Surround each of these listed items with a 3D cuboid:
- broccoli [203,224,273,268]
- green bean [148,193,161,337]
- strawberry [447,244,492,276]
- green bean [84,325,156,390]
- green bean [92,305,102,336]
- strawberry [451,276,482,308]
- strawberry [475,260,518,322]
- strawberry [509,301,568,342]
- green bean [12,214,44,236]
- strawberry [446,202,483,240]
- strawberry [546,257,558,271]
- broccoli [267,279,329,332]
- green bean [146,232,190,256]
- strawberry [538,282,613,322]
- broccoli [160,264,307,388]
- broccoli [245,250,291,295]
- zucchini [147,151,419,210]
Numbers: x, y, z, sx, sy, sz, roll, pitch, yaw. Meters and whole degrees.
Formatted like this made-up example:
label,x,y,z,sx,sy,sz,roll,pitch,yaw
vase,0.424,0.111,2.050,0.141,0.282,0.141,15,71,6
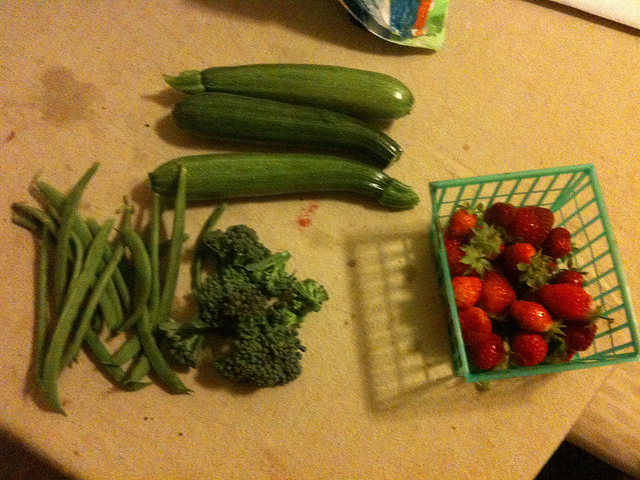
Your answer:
label,x,y,z,sx,sy,sz,roll,pitch,yaw
broccoli,-0.185,0.003,1.601,0.281,0.103,0.167,0,29,3
green bean,-0.457,0.067,1.542,0.055,0.044,0.334,5,83,-17
strawberry,0.387,0.047,1.500,0.112,0.085,0.102,9,40,42
green bean,-0.553,0.334,1.543,0.271,0.112,0.165,-9,28,-16
green bean,-0.624,0.227,1.563,0.028,0.027,0.075,-1,85,2
strawberry,0.363,0.134,1.436,0.096,0.048,0.069,3,74,-10
strawberry,0.485,0.142,1.505,0.130,0.107,0.159,-4,31,-2
strawberry,0.542,0.203,1.416,0.171,0.062,0.083,18,52,11
green bean,-0.848,-0.042,1.622,0.123,0.025,0.025,21,68,3
strawberry,0.415,-0.040,1.513,0.119,0.105,0.078,-7,20,6
strawberry,0.614,0.064,1.484,0.045,0.034,0.011,-5,11,-7
broccoli,-0.074,0.169,1.582,0.177,0.146,0.134,-15,38,-26
green bean,-0.434,0.011,1.605,0.155,0.036,0.028,-20,95,2
strawberry,0.620,0.160,1.405,0.206,0.082,0.062,9,72,11
broccoli,-0.218,0.246,1.492,0.530,0.154,0.255,13,80,-8
broccoli,-0.135,0.091,1.587,0.145,0.113,0.106,-11,32,-22
zucchini,-0.110,-0.188,1.668,0.811,0.165,0.184,3,50,-6
